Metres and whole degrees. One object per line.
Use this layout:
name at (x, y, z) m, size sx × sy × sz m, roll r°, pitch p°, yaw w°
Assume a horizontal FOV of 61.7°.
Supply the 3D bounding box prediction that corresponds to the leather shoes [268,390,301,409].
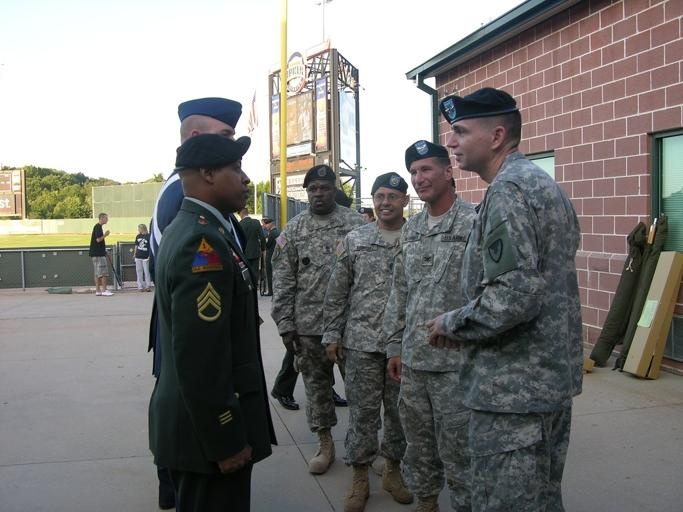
leather shoes at (-0.568, 1.466, 5.836) m, size 0.325 × 0.134 × 0.122 m, roll 30°, pitch 12°, yaw 23°

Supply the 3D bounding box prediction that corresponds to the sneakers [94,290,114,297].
sneakers at (-5.812, 0.908, 14.114) m, size 0.486 × 0.220 × 0.186 m, roll 1°, pitch 2°, yaw -5°

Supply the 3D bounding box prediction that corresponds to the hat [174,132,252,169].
hat at (-0.698, -0.519, 3.178) m, size 0.469 × 0.184 × 0.359 m, roll -9°, pitch -3°, yaw -21°

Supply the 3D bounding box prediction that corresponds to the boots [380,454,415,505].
boots at (0.351, 1.684, 4.233) m, size 0.126 × 0.261 × 0.353 m, roll -2°, pitch -4°, yaw -27°

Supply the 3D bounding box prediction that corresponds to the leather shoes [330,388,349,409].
leather shoes at (-0.017, 1.433, 5.741) m, size 0.123 × 0.168 × 0.380 m, roll -3°, pitch -6°, yaw -19°

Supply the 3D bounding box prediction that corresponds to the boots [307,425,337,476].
boots at (-0.149, 1.576, 4.661) m, size 0.131 × 0.287 × 0.391 m, roll -3°, pitch 2°, yaw 19°
